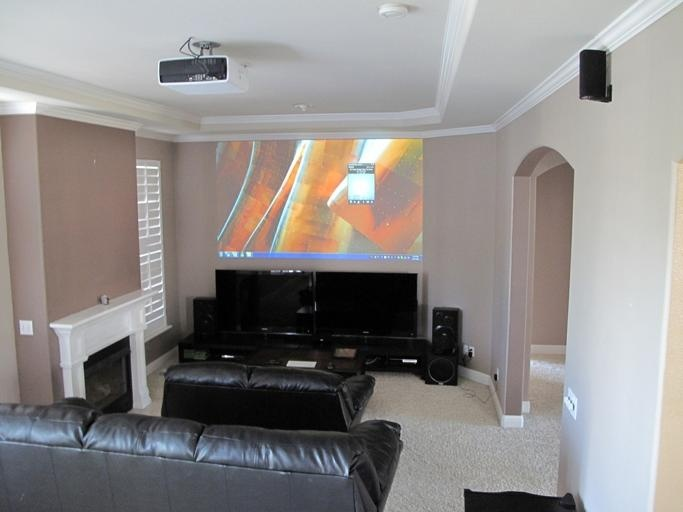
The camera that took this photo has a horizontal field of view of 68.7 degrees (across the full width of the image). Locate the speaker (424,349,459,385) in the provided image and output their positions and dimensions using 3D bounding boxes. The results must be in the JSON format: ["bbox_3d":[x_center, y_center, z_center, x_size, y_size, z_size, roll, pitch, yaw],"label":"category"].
[{"bbox_3d":[1.289,1.379,6.430,0.402,0.426,0.418,1,14,12],"label":"speaker"}]

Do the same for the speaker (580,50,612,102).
[{"bbox_3d":[1.417,-1.009,2.781,0.171,0.290,0.110,1,12,-4],"label":"speaker"}]

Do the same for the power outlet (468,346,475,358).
[{"bbox_3d":[1.661,1.222,6.385,0.091,0.154,0.047,6,13,20],"label":"power outlet"}]

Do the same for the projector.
[{"bbox_3d":[-0.967,-1.268,3.509,0.532,0.184,0.428,1,7,14],"label":"projector"}]

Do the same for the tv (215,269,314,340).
[{"bbox_3d":[-1.018,0.639,6.813,1.339,0.863,0.099,1,4,7],"label":"tv"}]

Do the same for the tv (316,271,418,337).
[{"bbox_3d":[0.378,0.611,6.577,1.210,0.781,0.091,1,4,7],"label":"tv"}]
